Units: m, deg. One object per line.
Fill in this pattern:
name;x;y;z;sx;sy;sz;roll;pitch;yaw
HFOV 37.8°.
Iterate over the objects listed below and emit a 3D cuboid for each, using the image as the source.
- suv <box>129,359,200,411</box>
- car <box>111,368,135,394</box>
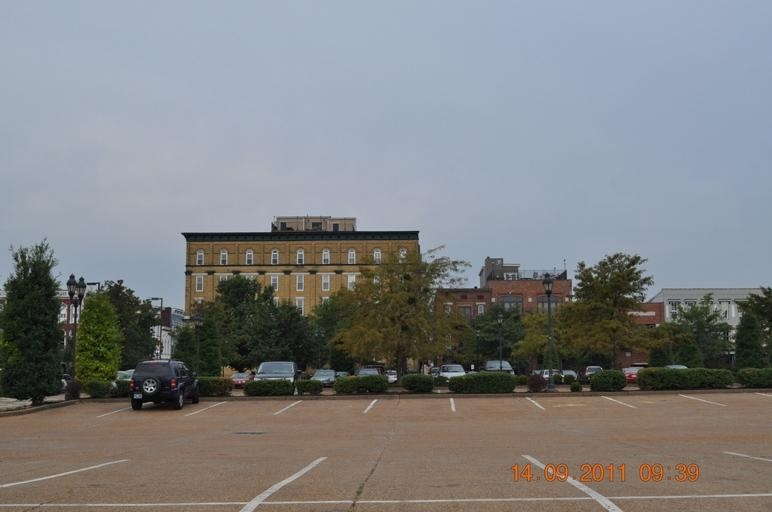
suv;-10.189;5.958;53.110;1.785;1.435;3.253;-1;-3;5
car;-13.465;6.470;57.685;1.555;1.443;2.619;1;2;-11
